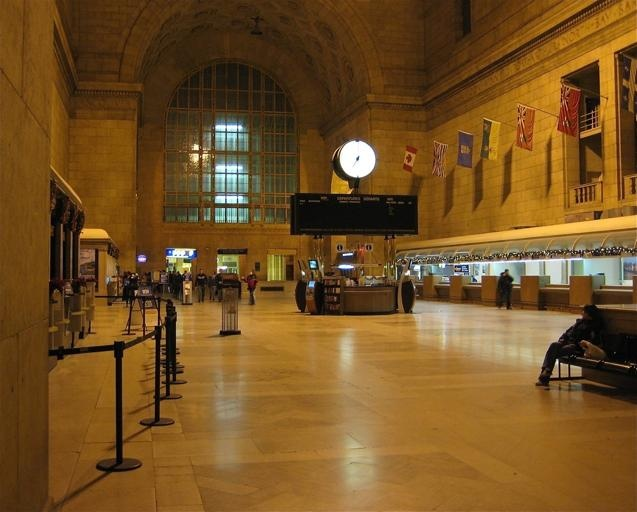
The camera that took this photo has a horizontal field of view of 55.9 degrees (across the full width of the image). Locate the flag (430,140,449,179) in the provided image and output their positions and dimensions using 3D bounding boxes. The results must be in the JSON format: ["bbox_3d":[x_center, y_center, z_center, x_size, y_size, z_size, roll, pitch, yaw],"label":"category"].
[{"bbox_3d":[7.860,-6.399,38.587,1.081,2.462,0.143,16,46,27],"label":"flag"}]

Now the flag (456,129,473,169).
[{"bbox_3d":[8.932,-6.579,36.065,1.435,2.067,0.710,1,-1,-30],"label":"flag"}]

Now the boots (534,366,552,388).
[{"bbox_3d":[3.758,2.026,9.992,0.151,0.204,0.444,0,-2,12],"label":"boots"}]

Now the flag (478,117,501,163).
[{"bbox_3d":[9.608,-6.716,33.473,0.865,2.318,1.409,0,-1,12],"label":"flag"}]

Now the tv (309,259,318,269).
[{"bbox_3d":[-0.194,0.312,26.589,0.369,0.421,0.201,2,7,25],"label":"tv"}]

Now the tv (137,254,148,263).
[{"bbox_3d":[-15.072,0.128,51.445,0.793,0.768,2.124,1,-1,-17],"label":"tv"}]

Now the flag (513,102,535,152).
[{"bbox_3d":[10.753,-6.864,31.063,0.843,2.246,1.214,0,-1,18],"label":"flag"}]

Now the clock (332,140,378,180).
[{"bbox_3d":[1.597,-4.307,26.142,1.776,1.803,0.647,1,-1,-2],"label":"clock"}]

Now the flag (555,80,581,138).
[{"bbox_3d":[11.777,-7.076,28.139,0.852,2.449,1.044,0,-1,23],"label":"flag"}]

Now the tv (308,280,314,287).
[{"bbox_3d":[-0.285,1.162,25.509,0.195,0.400,0.382,1,-1,-19],"label":"tv"}]

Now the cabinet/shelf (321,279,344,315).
[{"bbox_3d":[0.622,1.665,25.357,0.355,1.547,1.180,1,-1,-33],"label":"cabinet/shelf"}]
